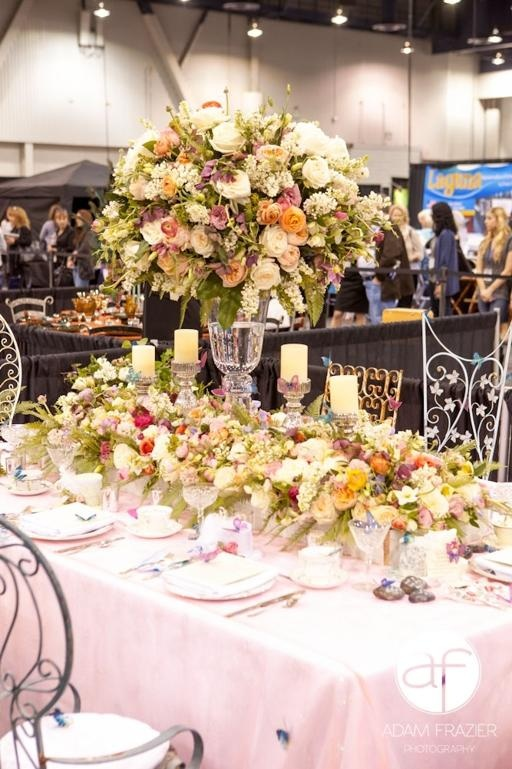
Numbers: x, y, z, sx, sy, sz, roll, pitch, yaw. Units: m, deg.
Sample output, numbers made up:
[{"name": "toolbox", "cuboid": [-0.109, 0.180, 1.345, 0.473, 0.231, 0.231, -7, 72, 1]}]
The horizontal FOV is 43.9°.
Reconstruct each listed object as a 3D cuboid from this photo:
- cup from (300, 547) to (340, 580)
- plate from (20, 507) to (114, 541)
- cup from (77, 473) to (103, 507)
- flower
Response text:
[{"name": "cup", "cuboid": [0.154, 0.404, 1.439, 0.066, 0.041, 0.066, -1, 7, 0]}, {"name": "plate", "cuboid": [-0.528, 0.389, 1.781, 0.130, 0.031, 0.131, -5, 8, -40]}, {"name": "cup", "cuboid": [-0.532, 0.339, 2.042, 0.108, 0.099, 0.070, -1, 5, -3]}, {"name": "flower", "cuboid": [-0.012, -0.429, 2.019, 0.741, 0.620, 0.733, 2, 4, 27]}]
